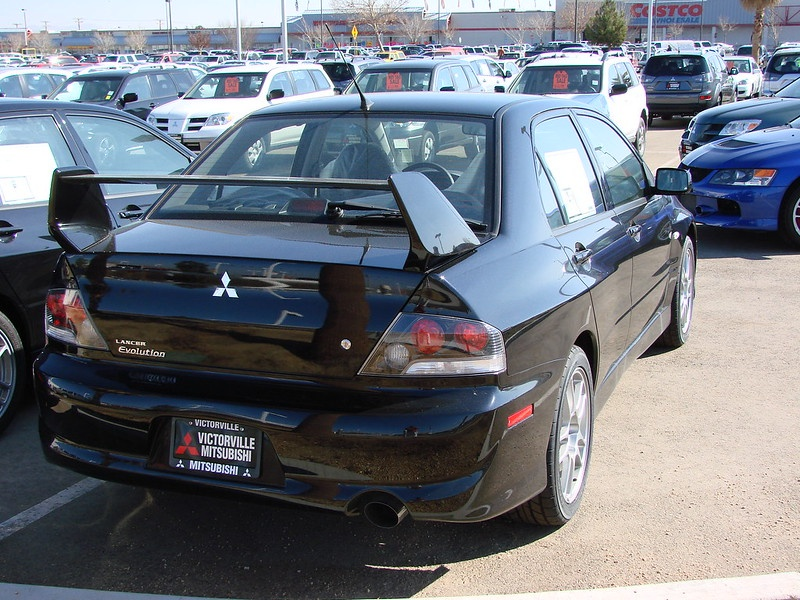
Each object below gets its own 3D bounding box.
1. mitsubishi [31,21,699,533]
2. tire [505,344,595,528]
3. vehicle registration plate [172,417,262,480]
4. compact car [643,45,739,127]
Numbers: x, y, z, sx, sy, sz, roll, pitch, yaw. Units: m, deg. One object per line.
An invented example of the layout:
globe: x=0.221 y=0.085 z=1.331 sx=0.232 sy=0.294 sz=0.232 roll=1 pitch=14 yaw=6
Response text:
mitsubishi: x=-0.077 y=-0.001 z=3.051 sx=1.957 sy=2.135 sz=2.635 roll=11 pitch=21 yaw=37
tire: x=0.643 y=0.595 z=2.635 sx=0.317 sy=0.742 sz=0.744 roll=2 pitch=46 yaw=25
vehicle registration plate: x=-0.678 y=0.555 z=2.304 sx=0.379 sy=0.149 sz=0.034 roll=2 pitch=8 yaw=15
compact car: x=9.189 y=-7.142 z=20.108 sx=2.798 sy=1.838 sz=5.077 roll=3 pitch=21 yaw=26
